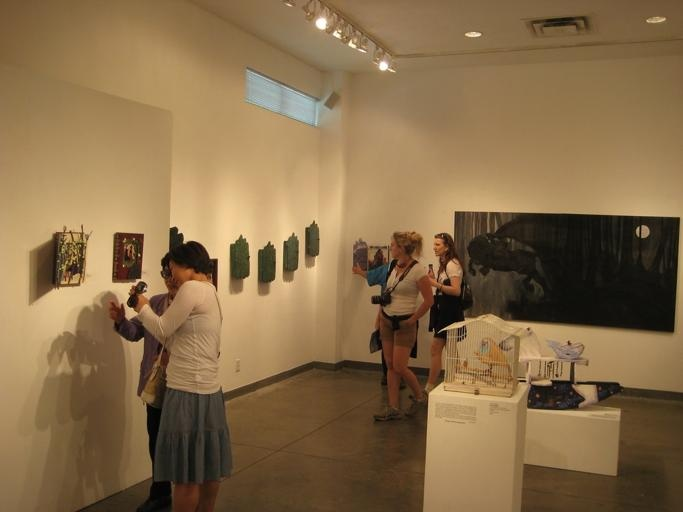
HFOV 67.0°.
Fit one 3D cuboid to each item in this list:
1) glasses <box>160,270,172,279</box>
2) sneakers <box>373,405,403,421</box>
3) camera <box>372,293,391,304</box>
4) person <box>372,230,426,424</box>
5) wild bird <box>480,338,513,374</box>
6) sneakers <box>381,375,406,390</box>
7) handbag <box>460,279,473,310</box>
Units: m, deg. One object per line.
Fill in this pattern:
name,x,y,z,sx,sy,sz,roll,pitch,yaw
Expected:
glasses,-1.262,0.135,3.721,0.065,0.058,0.077,0,-3,24
sneakers,0.529,1.793,5.882,0.267,0.138,0.158,1,-3,-5
camera,0.444,0.497,5.768,0.140,0.063,0.151,-2,8,-3
person,0.673,0.797,5.748,0.647,2.121,0.504,1,1,15
wild bird,1.097,0.717,3.709,0.158,0.231,0.059,9,-20,9
sneakers,0.697,1.809,7.295,0.205,0.114,0.361,-1,2,-1
handbag,1.526,0.485,6.328,0.115,0.341,0.293,1,1,13
